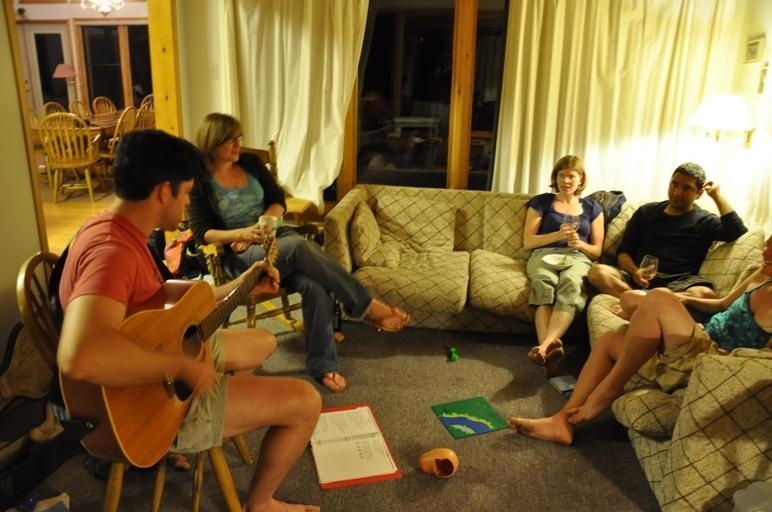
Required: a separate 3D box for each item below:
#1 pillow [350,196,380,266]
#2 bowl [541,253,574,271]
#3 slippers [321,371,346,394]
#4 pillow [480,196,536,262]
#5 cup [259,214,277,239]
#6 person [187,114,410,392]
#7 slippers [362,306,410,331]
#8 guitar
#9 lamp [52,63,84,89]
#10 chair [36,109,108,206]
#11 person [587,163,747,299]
[{"bbox_3d":[-0.185,-0.154,4.485,0.247,0.456,0.828,6,12,4],"label":"pillow"},{"bbox_3d":[1.247,0.039,3.979,0.151,0.060,0.130,-4,36,0],"label":"bowl"},{"bbox_3d":[-0.318,0.791,3.462,0.162,0.069,0.091,5,26,42],"label":"slippers"},{"bbox_3d":[0.948,-0.214,4.441,0.460,0.458,0.125,5,1,31],"label":"pillow"},{"bbox_3d":[-0.692,-0.157,3.239,0.106,0.156,0.164,-2,6,-20],"label":"cup"},{"bbox_3d":[-0.653,-0.105,3.716,1.292,1.635,0.774,16,36,28],"label":"person"},{"bbox_3d":[0.007,0.402,3.573,0.269,0.163,0.088,11,6,-1],"label":"slippers"},{"bbox_3d":[-0.877,0.275,2.660,0.205,0.722,1.453,6,31,16],"label":"guitar"},{"bbox_3d":[-4.952,-2.781,8.670,0.384,0.378,0.379,-10,43,-27],"label":"lamp"},{"bbox_3d":[-3.635,-1.135,6.400,0.594,0.952,0.659,-1,17,-4],"label":"chair"},{"bbox_3d":[2.053,-0.154,3.980,0.659,0.912,0.865,13,1,-44],"label":"person"}]
